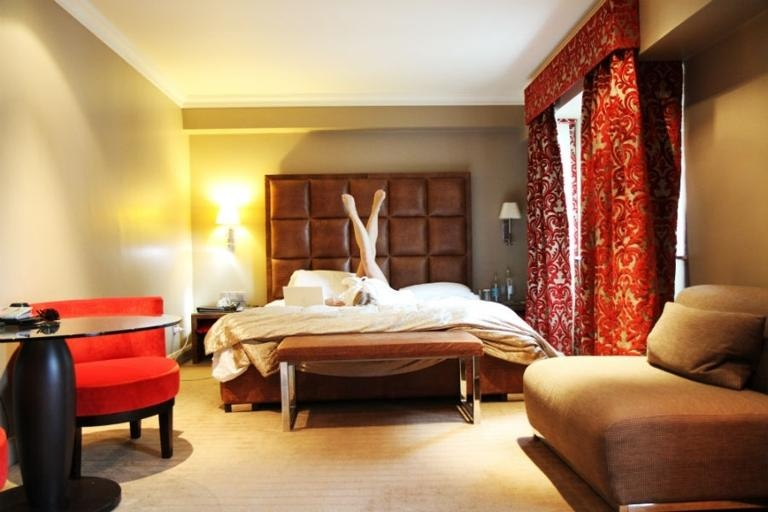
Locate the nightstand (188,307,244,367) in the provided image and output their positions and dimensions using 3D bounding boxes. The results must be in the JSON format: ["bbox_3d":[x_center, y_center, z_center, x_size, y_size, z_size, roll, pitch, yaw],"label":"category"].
[{"bbox_3d":[-1.839,0.768,6.374,0.811,0.726,0.530,0,-1,-13],"label":"nightstand"}]

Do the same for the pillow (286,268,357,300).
[{"bbox_3d":[-0.686,0.254,6.111,0.445,0.114,0.380,5,31,-3],"label":"pillow"}]

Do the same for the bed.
[{"bbox_3d":[-0.134,0.182,5.664,2.758,2.011,2.445,0,-3,-3],"label":"bed"}]

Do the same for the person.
[{"bbox_3d":[-0.212,-0.071,5.771,0.857,1.116,0.867,-1,6,7],"label":"person"}]

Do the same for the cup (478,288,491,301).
[{"bbox_3d":[1.116,0.424,6.448,0.158,0.154,0.094,0,-1,-5],"label":"cup"}]

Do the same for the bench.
[{"bbox_3d":[-0.029,0.934,4.474,1.536,0.717,0.452,-2,14,-3],"label":"bench"}]

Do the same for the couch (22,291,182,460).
[{"bbox_3d":[-1.873,0.751,4.303,1.054,1.256,1.099,0,-4,-38],"label":"couch"}]
